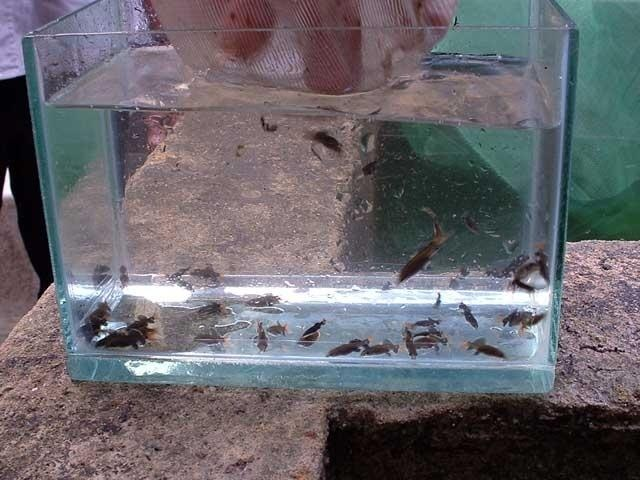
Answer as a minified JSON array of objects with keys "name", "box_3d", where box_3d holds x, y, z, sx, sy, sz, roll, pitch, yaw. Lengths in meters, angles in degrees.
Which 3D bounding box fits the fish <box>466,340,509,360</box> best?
[{"name":"fish","box_3d":[0.400,0.258,1.491,0.065,0.030,0.019,17,26,-1]}]

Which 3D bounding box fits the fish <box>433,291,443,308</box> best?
[{"name":"fish","box_3d":[0.284,0.144,1.517,0.016,0.039,0.013,11,-4,-15]}]

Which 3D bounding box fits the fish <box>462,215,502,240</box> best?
[{"name":"fish","box_3d":[0.376,-0.031,1.461,0.081,0.029,0.018,17,37,-6]}]

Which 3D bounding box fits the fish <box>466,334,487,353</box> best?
[{"name":"fish","box_3d":[0.367,0.246,1.490,0.036,0.015,0.035,1,39,15]}]

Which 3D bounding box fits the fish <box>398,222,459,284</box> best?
[{"name":"fish","box_3d":[0.243,0.033,1.488,0.116,0.148,0.025,-18,44,-22]}]

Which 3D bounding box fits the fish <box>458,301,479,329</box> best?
[{"name":"fish","box_3d":[0.353,0.179,1.502,0.024,0.021,0.072,-32,72,-6]}]

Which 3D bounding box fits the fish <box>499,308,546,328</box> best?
[{"name":"fish","box_3d":[0.477,0.184,1.484,0.105,0.045,0.034,-2,15,20]}]

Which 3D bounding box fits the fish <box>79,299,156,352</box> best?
[{"name":"fish","box_3d":[-0.499,0.219,1.592,0.216,0.113,0.084,6,6,-6]}]
